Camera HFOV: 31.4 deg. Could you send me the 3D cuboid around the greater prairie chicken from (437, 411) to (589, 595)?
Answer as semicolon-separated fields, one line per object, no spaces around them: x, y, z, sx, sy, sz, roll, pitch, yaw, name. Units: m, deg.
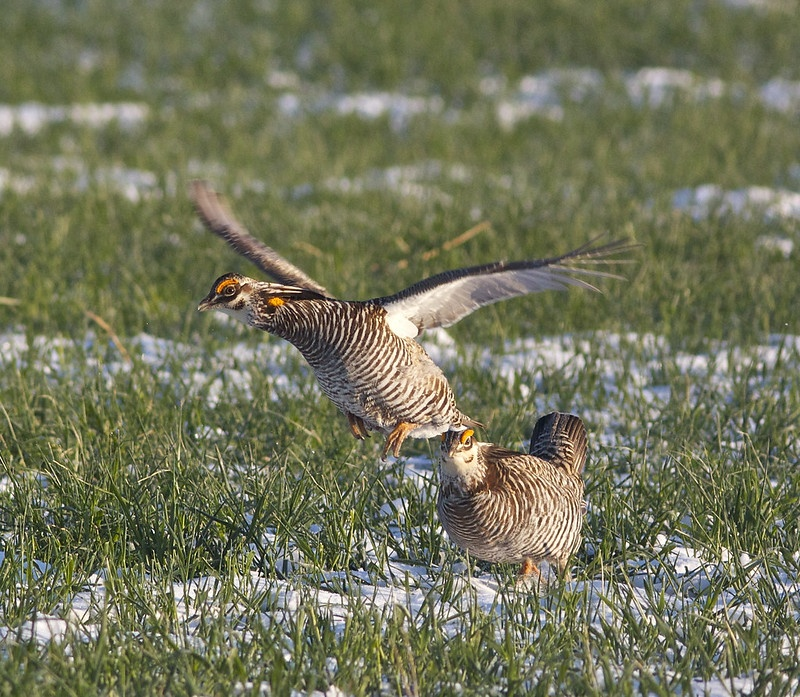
0.582;0.767;7.311;0.661;0.993;1.153;-11;-13;37;greater prairie chicken
